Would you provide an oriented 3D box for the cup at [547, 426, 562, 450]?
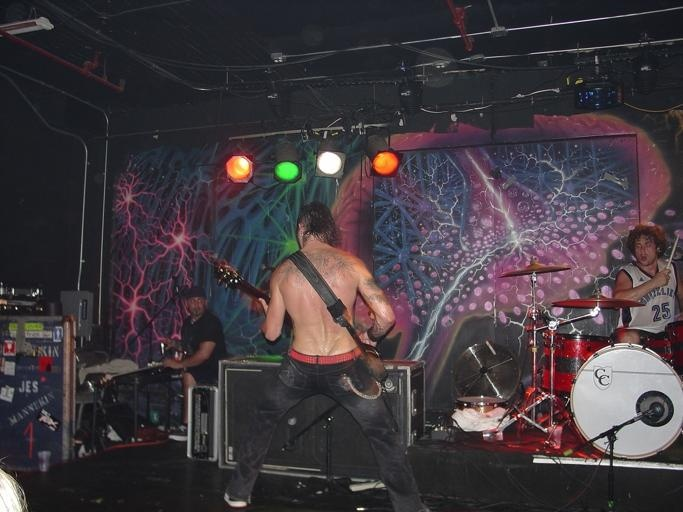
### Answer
[{"bbox_3d":[1.991,1.683,6.909,0.050,0.194,0.120,8,-44,-11],"label":"cup"}]

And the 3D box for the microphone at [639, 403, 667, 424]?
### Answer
[{"bbox_3d":[2.705,1.387,6.511,0.259,0.196,0.114,2,-8,-25],"label":"microphone"}]

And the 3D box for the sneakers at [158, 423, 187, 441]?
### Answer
[{"bbox_3d":[-1.955,2.040,8.594,0.070,0.226,0.641,7,-10,-33],"label":"sneakers"}]

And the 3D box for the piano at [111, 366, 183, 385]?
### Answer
[{"bbox_3d":[-2.308,1.388,8.725,0.351,0.216,0.917,-5,-9,27],"label":"piano"}]

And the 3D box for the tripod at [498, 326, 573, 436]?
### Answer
[{"bbox_3d":[1.899,1.204,7.359,0.602,1.068,0.723,-5,-8,27],"label":"tripod"}]

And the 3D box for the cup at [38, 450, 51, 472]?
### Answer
[{"bbox_3d":[-2.942,2.018,7.355,0.121,0.184,0.337,2,-8,-23],"label":"cup"}]

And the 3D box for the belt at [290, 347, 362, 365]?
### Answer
[{"bbox_3d":[-0.139,0.835,6.142,0.589,0.136,0.099,-1,-7,-2],"label":"belt"}]

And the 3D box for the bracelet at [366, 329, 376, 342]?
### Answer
[{"bbox_3d":[0.254,0.672,6.306,0.086,0.070,0.091,-2,-7,23],"label":"bracelet"}]

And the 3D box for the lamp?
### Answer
[{"bbox_3d":[-0.363,-1.362,9.436,0.535,0.691,2.887,0,-1,-41],"label":"lamp"}]

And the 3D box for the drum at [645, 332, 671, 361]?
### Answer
[{"bbox_3d":[3.353,0.933,7.828,0.193,0.377,0.273,-10,-13,20],"label":"drum"}]

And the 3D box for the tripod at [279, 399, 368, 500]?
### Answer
[{"bbox_3d":[-0.186,1.822,7.014,0.736,0.832,0.458,3,1,-10],"label":"tripod"}]

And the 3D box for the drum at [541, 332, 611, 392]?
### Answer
[{"bbox_3d":[2.252,1.027,7.163,0.568,0.577,0.592,2,-9,6],"label":"drum"}]
